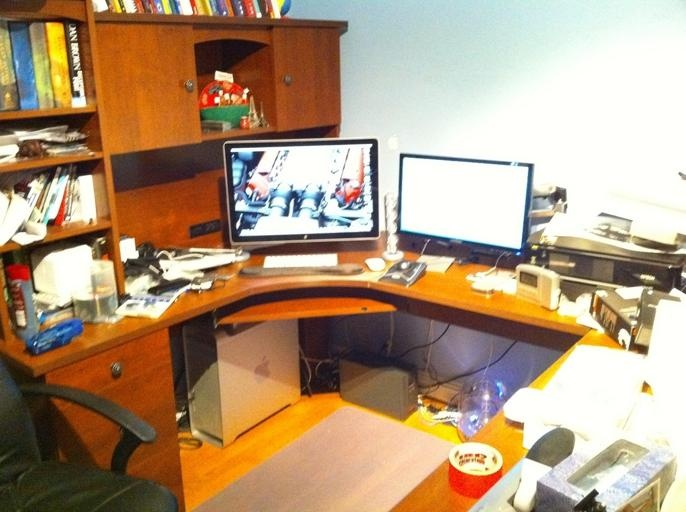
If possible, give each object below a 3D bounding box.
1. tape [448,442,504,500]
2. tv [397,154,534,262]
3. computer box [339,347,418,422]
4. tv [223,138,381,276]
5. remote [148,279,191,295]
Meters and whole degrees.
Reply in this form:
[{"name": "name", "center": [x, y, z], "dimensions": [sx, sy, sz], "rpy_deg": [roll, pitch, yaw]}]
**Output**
[{"name": "tape", "center": [0.340, 0.558, 1.473], "dimensions": [0.168, 0.125, 0.133], "rpy_deg": [8, 15, 0]}, {"name": "tv", "center": [0.586, -0.258, 2.694], "dimensions": [0.673, 0.460, 0.061], "rpy_deg": [11, 21, 30]}, {"name": "computer box", "center": [0.215, 0.757, 3.242], "dimensions": [0.448, 0.275, 0.247], "rpy_deg": [9, 13, 28]}, {"name": "tv", "center": [-0.216, -0.324, 2.788], "dimensions": [0.837, 0.642, 0.202], "rpy_deg": [-2, 17, -19]}, {"name": "remote", "center": [-0.774, 0.117, 2.497], "dimensions": [0.056, 0.056, 0.241], "rpy_deg": [-12, 5, 32]}]
